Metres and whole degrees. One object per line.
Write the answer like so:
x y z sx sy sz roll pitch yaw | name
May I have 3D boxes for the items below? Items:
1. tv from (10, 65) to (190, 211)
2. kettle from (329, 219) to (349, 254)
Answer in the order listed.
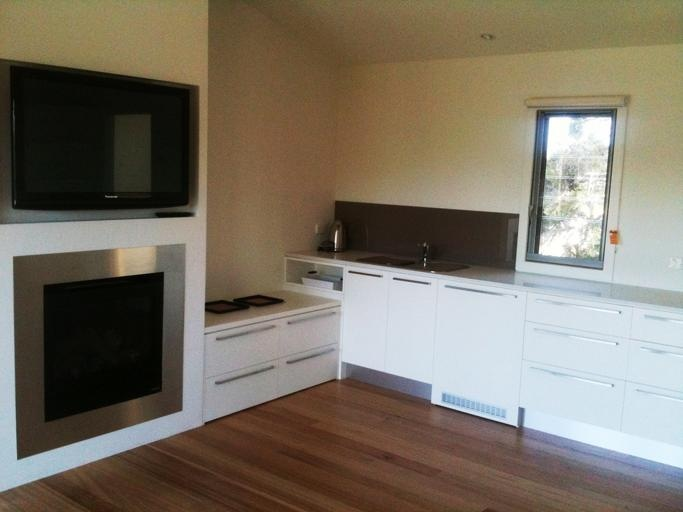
-1.521 -0.732 3.320 0.105 0.699 0.993 8 9 43 | tv
-0.009 -0.212 5.519 0.237 0.301 0.205 -3 13 -24 | kettle
